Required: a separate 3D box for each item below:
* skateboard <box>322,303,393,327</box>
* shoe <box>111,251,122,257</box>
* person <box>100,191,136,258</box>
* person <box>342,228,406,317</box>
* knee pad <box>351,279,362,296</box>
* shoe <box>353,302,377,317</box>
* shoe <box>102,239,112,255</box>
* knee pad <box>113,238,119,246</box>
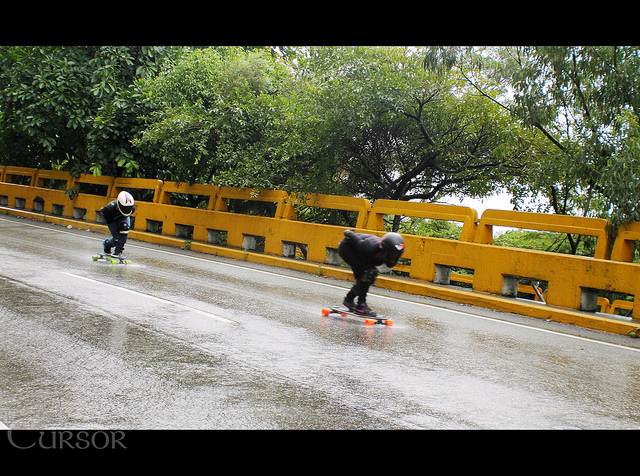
[{"bbox_3d":[0.671,1.320,8.353,0.430,0.157,1.089,7,4,-42],"label":"skateboard"},{"bbox_3d":[-4.950,0.391,11.799,0.120,0.102,0.205,8,14,41],"label":"shoe"},{"bbox_3d":[-4.942,-0.348,11.909,0.863,1.615,0.672,10,9,44],"label":"person"},{"bbox_3d":[0.854,0.599,8.457,0.639,1.453,0.971,-1,8,-33],"label":"person"},{"bbox_3d":[0.718,0.875,8.717,0.259,0.255,0.183,2,2,-15],"label":"knee pad"},{"bbox_3d":[0.778,1.232,8.376,0.462,0.212,0.162,0,-2,36],"label":"shoe"},{"bbox_3d":[-5.207,0.212,11.888,0.174,0.343,0.322,0,8,-29],"label":"shoe"},{"bbox_3d":[-5.055,0.087,11.953,0.135,0.136,0.141,3,5,16],"label":"knee pad"}]
